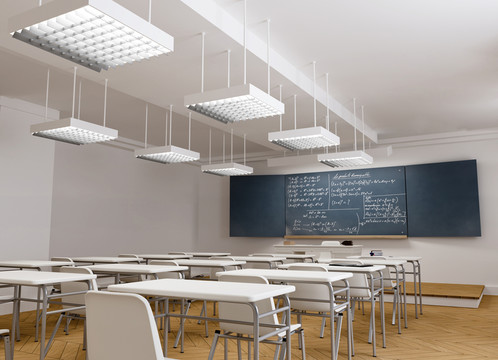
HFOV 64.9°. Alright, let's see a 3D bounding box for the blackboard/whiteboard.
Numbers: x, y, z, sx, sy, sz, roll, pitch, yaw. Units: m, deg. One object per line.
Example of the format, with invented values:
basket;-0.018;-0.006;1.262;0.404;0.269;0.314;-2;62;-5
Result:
blackboard/whiteboard;2.318;0.518;9.203;5.304;1.598;0.766;-3;-6;19
